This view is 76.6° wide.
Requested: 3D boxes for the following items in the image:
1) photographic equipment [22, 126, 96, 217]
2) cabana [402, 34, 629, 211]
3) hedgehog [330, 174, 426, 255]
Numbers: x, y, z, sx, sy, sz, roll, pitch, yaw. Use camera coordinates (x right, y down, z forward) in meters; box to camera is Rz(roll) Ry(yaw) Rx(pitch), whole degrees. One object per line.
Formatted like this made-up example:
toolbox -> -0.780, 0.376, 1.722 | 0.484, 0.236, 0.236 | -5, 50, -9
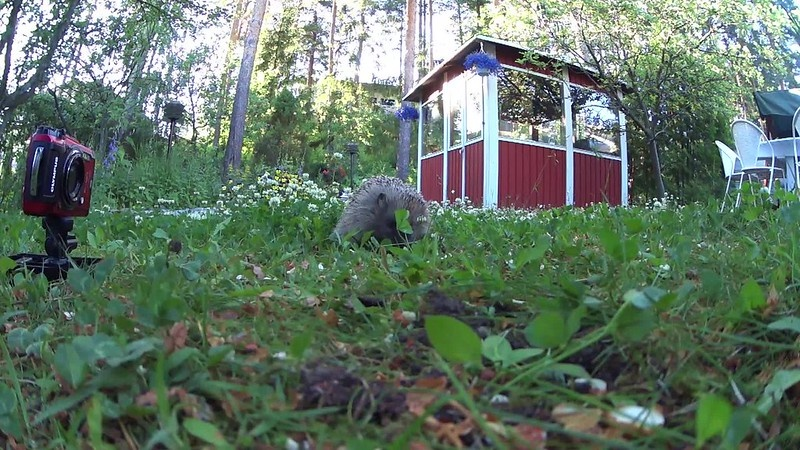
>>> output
photographic equipment -> -1.798, -0.272, 2.710 | 0.174, 0.543, 0.384 | 3, -1, 2
cabana -> 3.027, -2.391, 13.212 | 3.978, 3.671, 4.527 | 5, -6, -30
hedgehog -> -0.436, -0.087, 4.270 | 1.090, 0.592, 1.371 | 0, 5, -31
